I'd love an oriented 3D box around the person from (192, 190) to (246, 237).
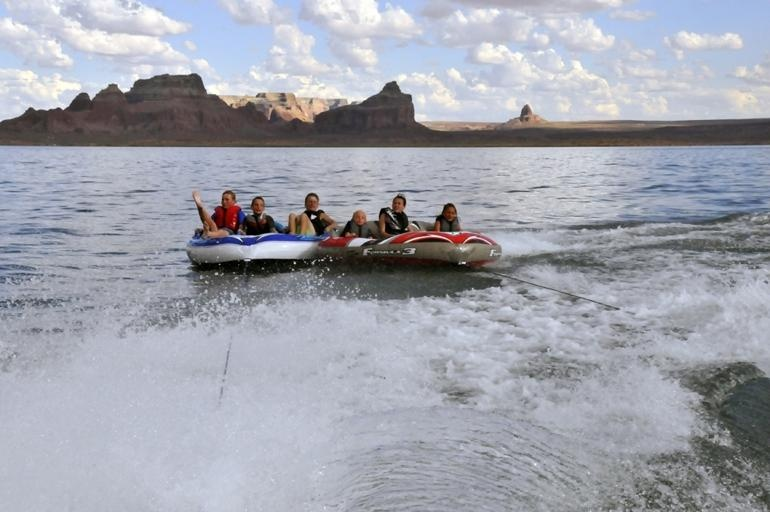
[{"bbox_3d":[-3.236,-0.809,12.736,0.912,0.907,1.791,6,2,4],"label":"person"}]
